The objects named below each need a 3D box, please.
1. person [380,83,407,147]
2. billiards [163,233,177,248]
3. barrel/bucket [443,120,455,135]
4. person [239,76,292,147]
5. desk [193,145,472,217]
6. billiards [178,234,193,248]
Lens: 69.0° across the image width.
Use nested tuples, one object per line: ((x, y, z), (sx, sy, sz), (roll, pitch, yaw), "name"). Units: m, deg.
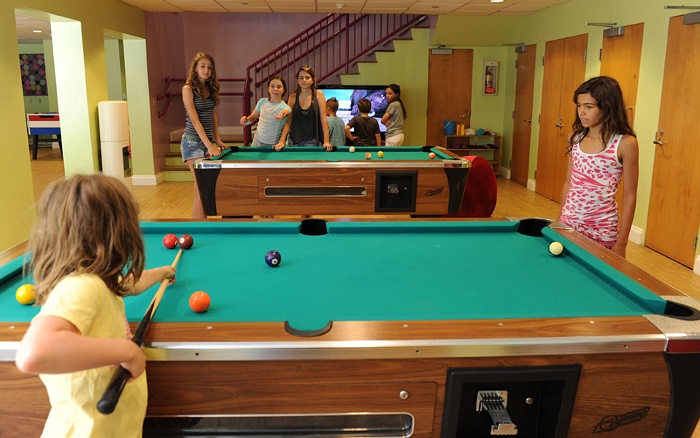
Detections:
((0.648, -1.542, 7.614), (0.332, 0.917, 0.705), (0, 15, 6), "person")
((-0.999, 0.113, 2.819), (0.077, 0.078, 0.082), (11, 1, 19), "billiards")
((1.803, -1.651, 9.196), (0.236, 0.206, 0.250), (-1, 13, 0), "barrel/bucket")
((-0.977, -1.191, 5.687), (0.617, 0.760, 0.438), (10, 19, 37), "person")
((-0.173, -0.325, 4.933), (2.487, 0.634, 0.733), (-2, 15, -3), "desk")
((-0.904, 0.120, 2.795), (0.076, 0.071, 0.075), (2, -1, 32), "billiards")
